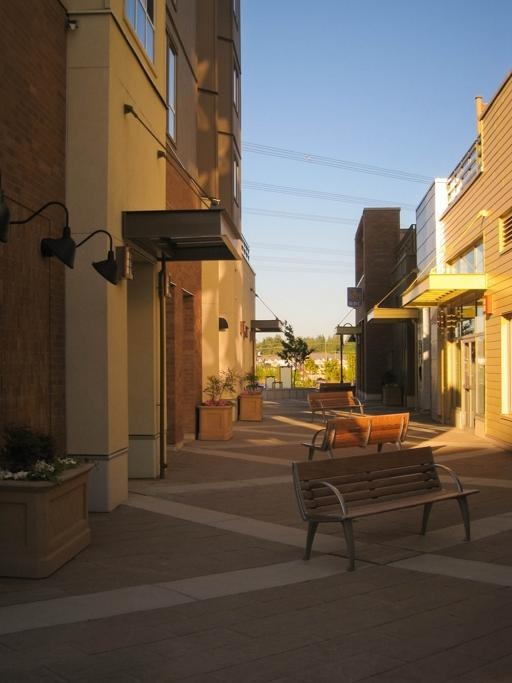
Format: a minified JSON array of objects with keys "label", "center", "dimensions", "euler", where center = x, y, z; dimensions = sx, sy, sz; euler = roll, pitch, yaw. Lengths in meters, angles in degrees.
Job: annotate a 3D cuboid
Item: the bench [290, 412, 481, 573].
[{"label":"bench","center":[1.079,1.326,4.962],"dimensions":[1.835,0.767,0.521],"euler":[4,-4,-42]}]
